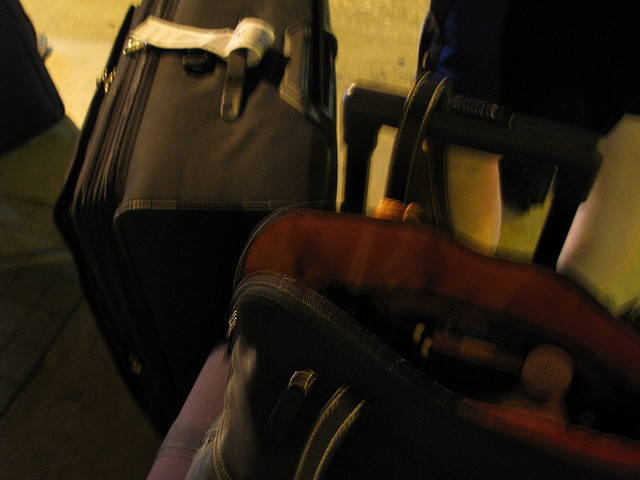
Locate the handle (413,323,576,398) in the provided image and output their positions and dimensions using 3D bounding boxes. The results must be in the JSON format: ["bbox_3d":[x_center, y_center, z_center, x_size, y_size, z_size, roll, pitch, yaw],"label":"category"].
[{"bbox_3d":[0.293,0.193,0.919,0.219,0.083,0.083,11,46,31],"label":"handle"}]

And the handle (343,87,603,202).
[{"bbox_3d":[0.331,-0.159,1.114,0.398,0.222,0.068,5,42,-8],"label":"handle"}]

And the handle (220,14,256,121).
[{"bbox_3d":[-0.190,-0.385,1.216,0.036,0.025,0.222,5,72,2],"label":"handle"}]
